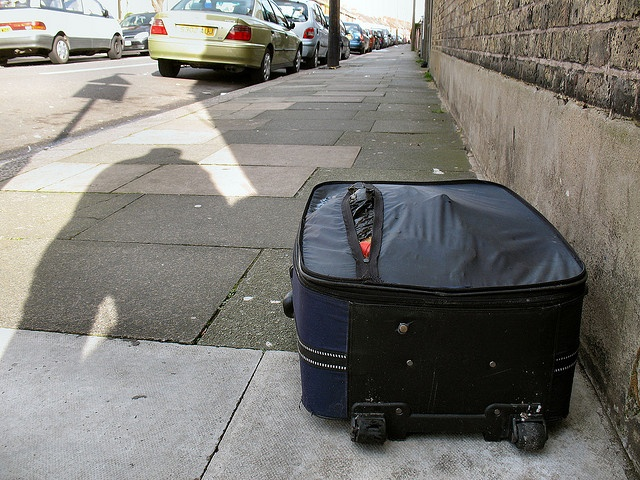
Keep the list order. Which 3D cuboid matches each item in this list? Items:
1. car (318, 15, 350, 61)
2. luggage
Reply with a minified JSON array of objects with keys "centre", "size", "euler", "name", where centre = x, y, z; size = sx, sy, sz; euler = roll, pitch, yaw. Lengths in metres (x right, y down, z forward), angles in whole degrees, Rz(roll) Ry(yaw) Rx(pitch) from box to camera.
[{"centre":[0.526,-7.739,21.697],"size":[1.442,1.283,2.482],"euler":[4,21,15],"name":"car"},{"centre":[0.445,0.082,2.209],"size":[0.955,0.529,1.034],"euler":[1,26,2],"name":"luggage"}]
